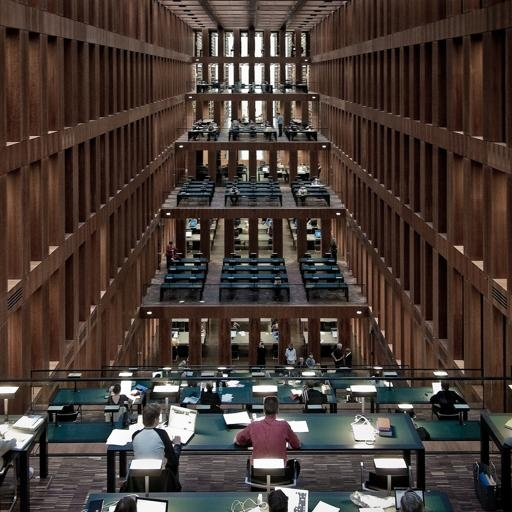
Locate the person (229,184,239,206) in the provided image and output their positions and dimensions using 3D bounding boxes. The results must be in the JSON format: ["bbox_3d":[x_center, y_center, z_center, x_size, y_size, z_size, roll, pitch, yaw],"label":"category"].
[{"bbox_3d":[-1.623,-4.107,35.683,0.863,1.642,0.374,3,-31,-1],"label":"person"}]

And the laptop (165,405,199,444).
[{"bbox_3d":[-0.807,1.986,6.123,0.478,0.531,0.285,20,-97,-10],"label":"laptop"}]

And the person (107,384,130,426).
[{"bbox_3d":[-2.460,2.692,9.429,0.297,0.456,0.895,2,-80,4],"label":"person"}]

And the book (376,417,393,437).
[{"bbox_3d":[1.485,1.996,6.041,0.096,0.214,0.053,0,-72,4],"label":"book"}]

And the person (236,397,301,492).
[{"bbox_3d":[0.178,2.066,5.579,0.621,1.134,0.508,6,-7,-32],"label":"person"}]

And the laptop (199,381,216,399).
[{"bbox_3d":[-0.918,2.551,9.872,0.227,0.281,0.713,13,-22,-2],"label":"laptop"}]
